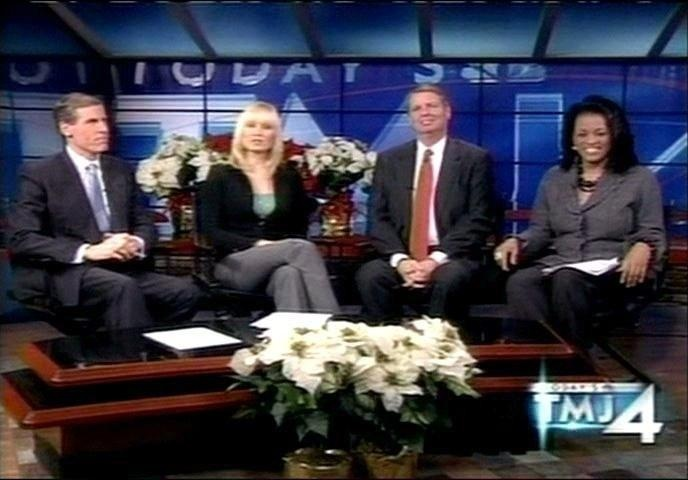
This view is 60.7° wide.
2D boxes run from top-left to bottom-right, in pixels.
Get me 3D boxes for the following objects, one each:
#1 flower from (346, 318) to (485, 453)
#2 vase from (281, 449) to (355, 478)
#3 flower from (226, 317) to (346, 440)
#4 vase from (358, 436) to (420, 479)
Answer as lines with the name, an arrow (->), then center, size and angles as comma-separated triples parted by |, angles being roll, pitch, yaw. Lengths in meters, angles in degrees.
flower -> 0.229, 0.507, 2.014 | 0.612, 0.400, 0.273 | 3, -30, 4
vase -> -0.082, 0.751, 1.957 | 0.227, 0.088, 0.083 | -1, 10, 0
flower -> -0.104, 0.438, 1.986 | 0.525, 0.352, 0.205 | 6, 6, 29
vase -> 0.155, 0.739, 1.945 | 0.235, 0.094, 0.182 | 0, 0, 5
